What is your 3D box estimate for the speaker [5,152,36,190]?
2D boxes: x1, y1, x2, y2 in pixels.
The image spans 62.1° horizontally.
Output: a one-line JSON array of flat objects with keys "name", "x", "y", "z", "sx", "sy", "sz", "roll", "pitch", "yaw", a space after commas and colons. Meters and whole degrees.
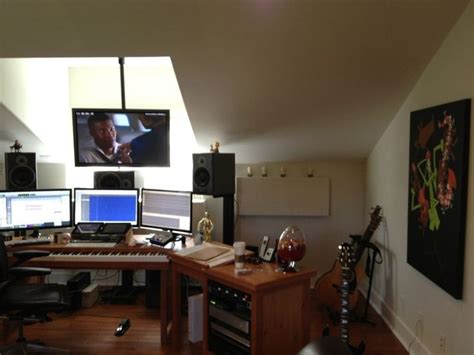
[{"name": "speaker", "x": -2.367, "y": -0.070, "z": 4.295, "sx": 0.310, "sy": 0.393, "sz": 0.235, "roll": -4, "pitch": 10, "yaw": -19}]

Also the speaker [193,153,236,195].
[{"name": "speaker", "x": -0.217, "y": -0.021, "z": 3.839, "sx": 0.419, "sy": 0.537, "sz": 0.346, "roll": 1, "pitch": -1, "yaw": -39}]
